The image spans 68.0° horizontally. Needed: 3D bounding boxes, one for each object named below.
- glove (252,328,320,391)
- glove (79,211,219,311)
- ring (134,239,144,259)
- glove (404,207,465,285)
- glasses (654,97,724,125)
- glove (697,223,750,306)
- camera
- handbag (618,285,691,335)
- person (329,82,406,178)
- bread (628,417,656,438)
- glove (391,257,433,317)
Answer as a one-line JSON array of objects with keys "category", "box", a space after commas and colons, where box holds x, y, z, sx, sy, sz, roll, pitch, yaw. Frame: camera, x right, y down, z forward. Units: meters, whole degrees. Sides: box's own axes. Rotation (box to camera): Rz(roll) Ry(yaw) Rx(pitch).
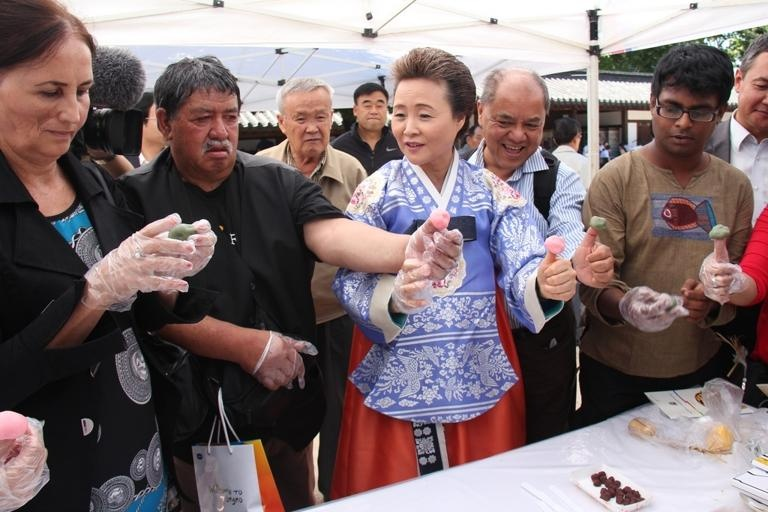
[{"category": "glove", "box": [-0.426, 0.442, 2.412, 0.144, 0.150, 0.268, -4, -30, 45]}, {"category": "glove", "box": [-0.859, 0.024, 2.037, 0.357, 0.188, 0.201, -18, 13, 21]}, {"category": "ring", "box": [-0.824, -0.020, 1.910, 0.032, 0.047, 0.015, -17, -9, -4]}, {"category": "glove", "box": [0.169, -0.030, 2.168, 0.169, 0.325, 0.209, -14, 22, -30]}, {"category": "glasses", "box": [1.503, -0.714, 2.809, 0.287, 0.111, 0.125, 5, 20, 23]}, {"category": "glove", "box": [1.515, 0.038, 2.509, 0.173, 0.343, 0.214, -5, 8, -9]}, {"category": "camera", "box": [-1.251, -0.560, 2.543, 0.315, 0.117, 0.181, 2, 5, 18]}, {"category": "handbag", "box": [1.278, 0.231, 2.664, 0.277, 0.164, 0.362, -5, 3, 44]}, {"category": "person", "box": [-0.164, -1.116, 5.200, 0.991, 0.818, 0.435, -8, 22, -27]}, {"category": "bread", "box": [1.137, 0.750, 2.502, 0.070, 0.020, 0.080, -21, 15, -13]}, {"category": "glove", "box": [0.108, 0.113, 2.206, 0.114, 0.124, 0.217, -32, 1, 6]}]
